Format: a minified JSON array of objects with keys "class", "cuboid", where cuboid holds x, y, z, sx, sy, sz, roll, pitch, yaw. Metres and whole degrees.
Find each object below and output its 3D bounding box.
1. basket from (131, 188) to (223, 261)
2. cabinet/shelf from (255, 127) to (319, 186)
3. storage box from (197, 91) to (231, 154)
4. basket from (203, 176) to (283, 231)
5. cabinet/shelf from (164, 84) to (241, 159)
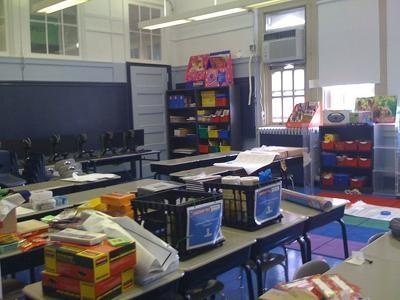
[{"class":"basket","cuboid":[-0.166,0.420,2.194,0.462,0.284,0.471,5,8,43]},{"class":"cabinet/shelf","cuboid":[1.690,0.131,6.001,1.232,1.149,0.485,7,10,41]},{"class":"storage box","cuboid":[0.401,-0.730,8.335,1.010,1.667,0.504,2,10,37]},{"class":"basket","cuboid":[0.344,0.419,2.571,0.422,0.252,0.426,6,9,40]},{"class":"cabinet/shelf","cuboid":[0.119,-0.756,8.320,2.092,2.052,0.544,0,3,31]}]
